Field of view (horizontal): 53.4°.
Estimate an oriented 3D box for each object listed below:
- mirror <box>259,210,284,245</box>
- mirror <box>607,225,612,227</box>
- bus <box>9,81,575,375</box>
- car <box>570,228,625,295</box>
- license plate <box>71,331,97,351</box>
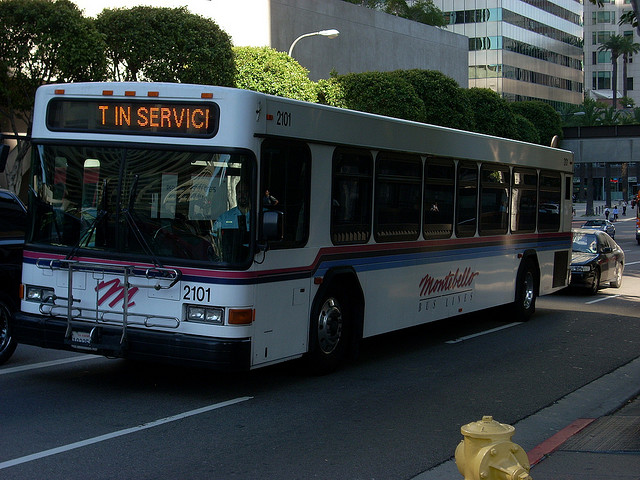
[{"bbox_3d":[-0.582,-0.188,7.734,0.261,0.476,0.516,-2,3,3],"label":"mirror"},{"bbox_3d":[20.500,-1.046,44.976,0.033,0.132,1.214,3,3,35],"label":"mirror"},{"bbox_3d":[1.635,-0.159,11.795,3.064,3.955,13.157,4,3,45],"label":"bus"},{"bbox_3d":[8.693,0.583,20.032,1.427,1.191,2.691,-2,-4,37],"label":"car"},{"bbox_3d":[-2.928,1.194,7.757,0.241,0.259,0.063,2,1,16],"label":"license plate"}]
